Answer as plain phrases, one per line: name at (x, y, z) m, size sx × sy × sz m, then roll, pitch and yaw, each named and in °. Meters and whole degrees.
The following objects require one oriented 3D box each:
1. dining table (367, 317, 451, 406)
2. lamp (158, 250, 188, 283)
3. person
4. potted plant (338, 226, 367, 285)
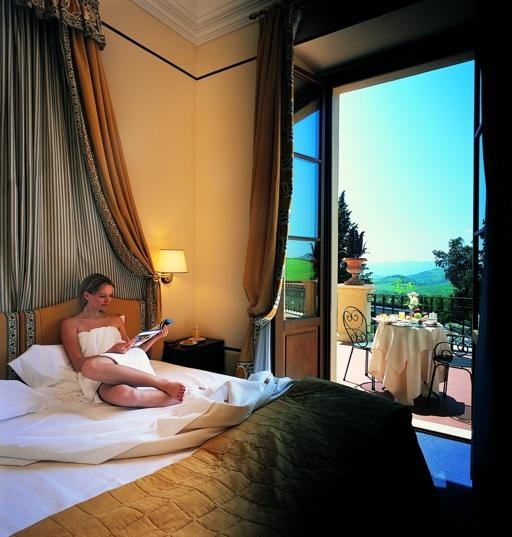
dining table at (1.373, 0.828, 3.858) m, size 0.598 × 0.708 × 0.702 m, roll 0°, pitch 0°, yaw 6°
lamp at (-0.661, -0.019, 3.330) m, size 0.261 × 0.311 × 0.253 m, roll 0°, pitch -3°, yaw -42°
person at (-0.754, 0.412, 2.375) m, size 0.833 × 0.756 × 0.539 m, roll -2°, pitch -2°, yaw 39°
potted plant at (1.619, -0.207, 6.895) m, size 0.386 × 0.876 × 0.940 m, roll 1°, pitch 7°, yaw 12°
